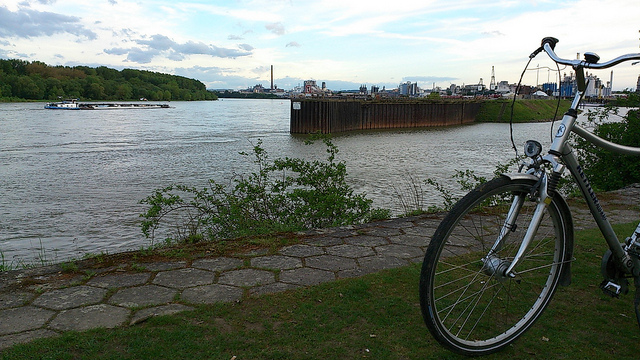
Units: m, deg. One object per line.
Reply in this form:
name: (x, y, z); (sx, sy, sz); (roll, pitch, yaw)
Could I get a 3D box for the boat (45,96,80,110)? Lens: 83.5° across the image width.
boat: (-50.033, -14.825, 71.229); (4.866, 1.563, 5.896); (-3, 14, -6)

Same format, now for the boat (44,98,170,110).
boat: (-44.953, -15.755, 75.779); (7.179, 1.788, 19.829); (6, 15, 28)
